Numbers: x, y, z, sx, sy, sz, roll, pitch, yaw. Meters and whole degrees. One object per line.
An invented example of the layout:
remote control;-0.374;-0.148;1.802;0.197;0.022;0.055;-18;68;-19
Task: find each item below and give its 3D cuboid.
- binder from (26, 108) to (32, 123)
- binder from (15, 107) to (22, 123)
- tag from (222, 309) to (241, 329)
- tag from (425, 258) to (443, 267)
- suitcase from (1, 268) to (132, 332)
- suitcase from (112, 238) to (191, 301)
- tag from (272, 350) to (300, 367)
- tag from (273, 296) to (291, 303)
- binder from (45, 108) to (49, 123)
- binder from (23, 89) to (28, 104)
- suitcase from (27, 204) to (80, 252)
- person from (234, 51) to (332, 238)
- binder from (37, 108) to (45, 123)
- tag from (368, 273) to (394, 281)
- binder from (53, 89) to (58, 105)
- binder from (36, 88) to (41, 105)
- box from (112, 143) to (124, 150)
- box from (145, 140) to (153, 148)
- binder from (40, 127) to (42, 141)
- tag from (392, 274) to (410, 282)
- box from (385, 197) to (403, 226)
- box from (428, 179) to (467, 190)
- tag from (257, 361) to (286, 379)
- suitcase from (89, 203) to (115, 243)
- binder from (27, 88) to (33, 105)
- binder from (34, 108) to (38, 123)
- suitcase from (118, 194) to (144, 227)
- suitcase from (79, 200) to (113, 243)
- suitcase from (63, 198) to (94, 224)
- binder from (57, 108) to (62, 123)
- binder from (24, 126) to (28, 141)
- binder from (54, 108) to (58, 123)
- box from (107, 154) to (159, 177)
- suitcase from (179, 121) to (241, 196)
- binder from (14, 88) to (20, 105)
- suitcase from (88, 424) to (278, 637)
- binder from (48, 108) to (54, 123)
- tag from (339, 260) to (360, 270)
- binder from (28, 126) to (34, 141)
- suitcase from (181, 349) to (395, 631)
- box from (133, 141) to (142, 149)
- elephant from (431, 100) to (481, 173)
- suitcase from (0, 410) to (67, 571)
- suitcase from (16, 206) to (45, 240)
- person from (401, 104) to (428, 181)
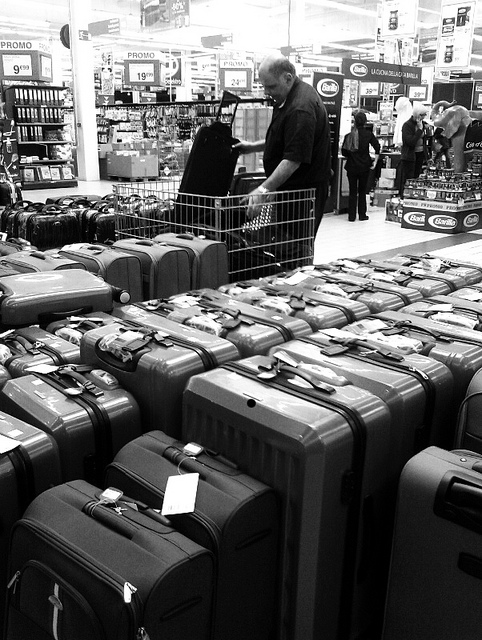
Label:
binder;-6.169;-5.907;14.115;0.160;0.402;0.094;-7;15;-28
binder;-6.375;-5.852;13.965;0.166;0.410;0.085;-8;15;-31
tag;-0.033;-0.005;1.874;0.029;0.038;0.109;3;21;13
tag;1.214;-0.360;3.052;0.058;0.074;0.114;1;20;-6
suitcase;-0.780;-0.097;2.192;0.541;0.191;0.311;-9;18;-27
suitcase;-0.475;-0.270;3.012;0.189;0.352;0.297;-25;21;-36
tag;0.132;0.114;1.366;0.042;0.013;0.042;38;0;-23
tag;0.183;-0.088;2.173;0.076;0.007;0.059;5;18;17
binder;-5.761;-6.039;14.415;0.136;0.389;0.076;-7;15;-28
binder;-6.212;-6.403;14.015;0.083;0.394;0.075;-3;13;-12
suitcase;-1.818;-0.867;4.687;0.337;0.560;0.490;20;26;30
person;0.366;-1.365;3.896;0.719;1.387;1.459;2;15;10
binder;-5.891;-6.006;14.331;0.188;0.388;0.094;-5;14;-19
tag;0.780;-0.238;2.695;0.052;0.031;0.110;1;12;-1
binder;-5.515;-6.588;14.450;0.137;0.412;0.058;-7;14;-26
binder;-5.912;-6.494;14.203;0.133;0.446;0.081;-7;14;-28
box;-3.974;-5.558;15.679;0.394;0.175;0.119;5;15;18
box;-3.080;-5.816;16.201;0.120;0.209;0.327;12;20;40
binder;-5.943;-5.504;14.434;0.045;0.338;0.123;-1;13;-4
tag;0.887;-0.230;2.687;0.082;0.025;0.049;-22;33;-37
box;2.779;-1.961;8.860;0.346;0.439;0.448;-14;20;-43
box;3.449;-2.252;8.126;0.620;0.154;0.230;10;19;30
tag;0.079;0.141;1.296;0.024;0.037;0.111;2;12;21
suitcase;-1.421;-0.928;4.928;0.260;0.288;0.184;-4;14;-13
binder;-6.107;-6.438;14.075;0.149;0.447;0.069;-8;15;-29
binder;-6.007;-5.970;14.247;0.099;0.384;0.077;-8;15;-32
suitcase;-0.882;-0.880;3.927;0.182;0.263;0.694;-4;17;-14
suitcase;-1.490;-0.987;5.003;0.308;0.644;0.322;-3;33;-20
suitcase;-1.783;-1.232;5.376;0.243;0.214;0.266;8;17;35
binder;-5.481;-6.127;14.674;0.113;0.409;0.310;-5;15;-20
binder;-6.277;-5.427;14.203;0.053;0.304;0.262;0;1;-7
binder;-5.554;-6.090;14.576;0.103;0.402;0.186;-3;14;-13
box;-3.436;-4.862;15.446;1.580;0.670;0.929;-4;16;-15
suitcase;-0.235;-1.398;4.312;0.370;0.804;0.285;12;45;-9
binder;-6.431;-6.367;13.889;0.132;0.567;0.292;-2;11;-26
suitcase;-0.099;0.422;0.959;0.123;0.408;0.307;-14;21;-31
binder;-5.667;-6.069;14.490;0.149;0.387;0.087;-7;15;-28
tag;0.663;-0.341;2.975;0.051;0.035;0.092;-13;29;-15
binder;-6.171;-5.455;14.267;0.057;0.341;0.285;2;7;-4
suitcase;0.111;0.402;1.082;0.209;0.728;0.382;-11;19;-34
box;-3.408;-5.695;15.951;0.180;0.410;0.195;9;27;13
elephant;4.118;-3.498;9.320;0.856;1.322;1.001;6;15;22
suitcase;-0.447;0.373;1.041;0.096;0.222;0.195;-4;14;-36
suitcase;-2.144;-0.989;4.964;0.303;0.269;0.362;-12;20;-37
person;3.501;-3.560;9.837;0.409;1.416;1.211;5;16;23
